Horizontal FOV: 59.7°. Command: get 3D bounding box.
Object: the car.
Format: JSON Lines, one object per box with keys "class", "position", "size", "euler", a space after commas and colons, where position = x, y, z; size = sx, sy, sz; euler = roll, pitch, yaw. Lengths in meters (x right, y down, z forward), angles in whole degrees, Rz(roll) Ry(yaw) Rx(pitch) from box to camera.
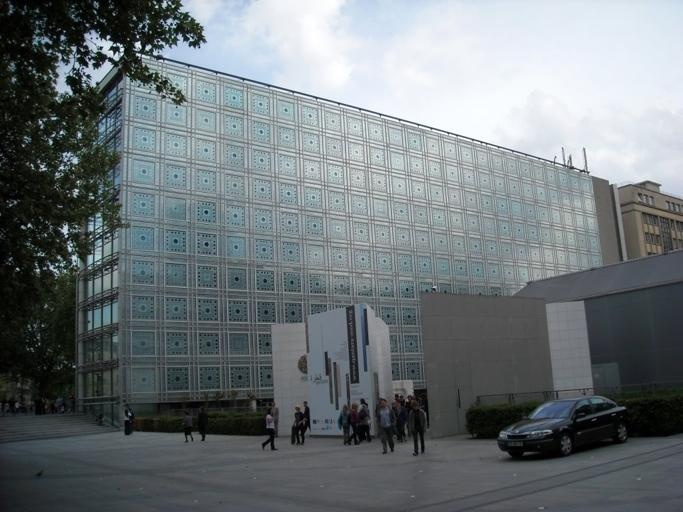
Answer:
{"class": "car", "position": [7.299, 5.526, 19.477], "size": [4.528, 1.815, 1.232], "euler": [6, -17, -27]}
